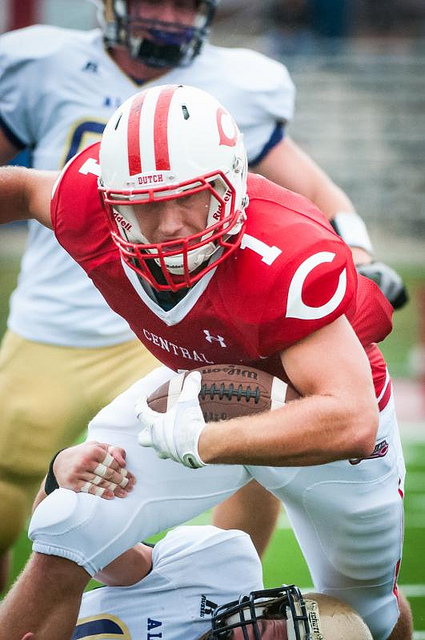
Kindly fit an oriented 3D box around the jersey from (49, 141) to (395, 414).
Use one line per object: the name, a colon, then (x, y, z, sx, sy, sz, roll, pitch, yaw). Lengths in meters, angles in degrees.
jersey: (-0.004, -0.117, 1.591, 0.716, 0.523, 0.399, 37, 66, 24)
